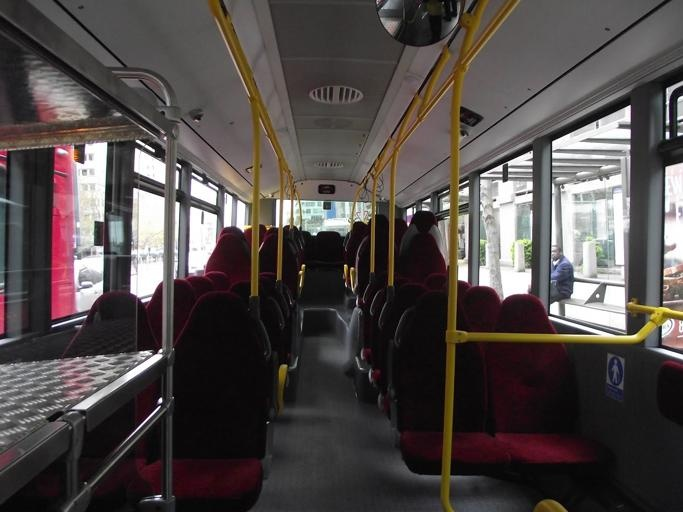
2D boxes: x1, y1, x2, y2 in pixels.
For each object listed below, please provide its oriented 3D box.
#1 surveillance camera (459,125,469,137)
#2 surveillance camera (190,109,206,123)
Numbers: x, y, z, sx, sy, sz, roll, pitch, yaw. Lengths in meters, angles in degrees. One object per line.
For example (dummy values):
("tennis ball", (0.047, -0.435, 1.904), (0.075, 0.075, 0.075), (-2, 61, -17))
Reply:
("surveillance camera", (1.267, -1.272, 4.777), (0.093, 0.038, 0.100), (21, -14, 5))
("surveillance camera", (-1.446, -1.386, 4.625), (0.087, 0.091, 0.094), (1, -7, -5))
